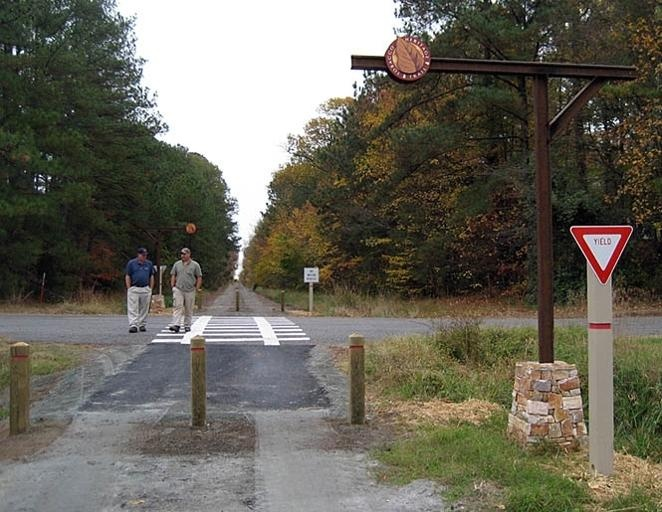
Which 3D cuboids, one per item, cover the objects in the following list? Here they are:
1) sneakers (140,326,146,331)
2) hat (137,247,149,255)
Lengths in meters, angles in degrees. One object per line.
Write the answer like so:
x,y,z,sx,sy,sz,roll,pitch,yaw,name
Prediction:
-5.177,1.993,20.253,0.116,0.141,0.092,4,-10,-12,sneakers
-5.219,-0.124,20.241,0.315,0.213,0.228,1,0,33,hat
